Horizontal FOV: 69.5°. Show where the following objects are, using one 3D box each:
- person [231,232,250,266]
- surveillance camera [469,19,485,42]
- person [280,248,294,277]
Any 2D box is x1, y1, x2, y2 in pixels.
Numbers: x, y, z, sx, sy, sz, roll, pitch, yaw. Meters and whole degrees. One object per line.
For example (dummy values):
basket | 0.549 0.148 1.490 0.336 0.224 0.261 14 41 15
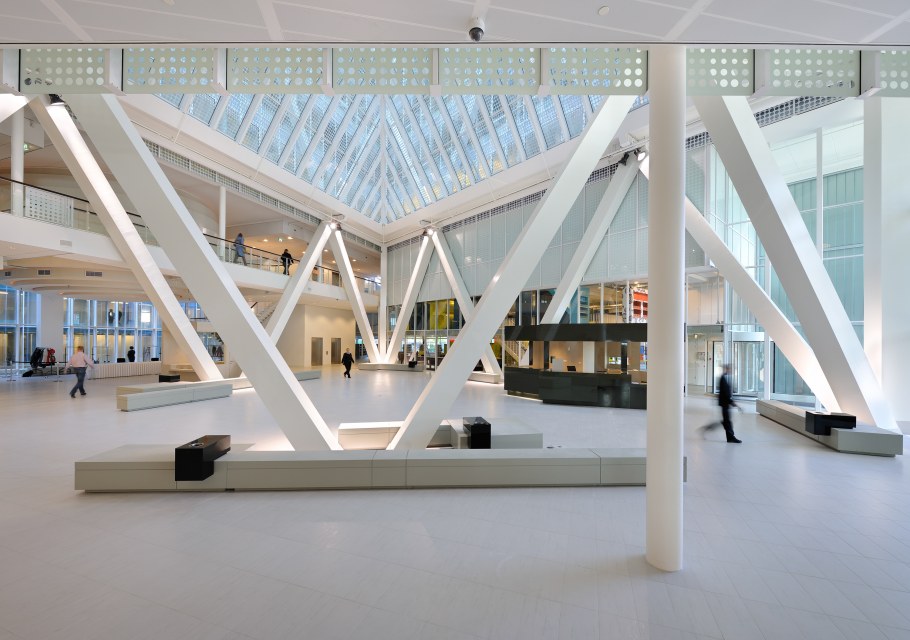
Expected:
person | -8.949 -2.913 27.266 0.494 1.332 1.019 0 -2 -12
surveillance camera | 0.304 -4.301 9.836 0.178 0.194 0.202 0 -1 2
person | -7.960 -2.683 30.947 0.445 1.403 1.707 0 -2 -9
